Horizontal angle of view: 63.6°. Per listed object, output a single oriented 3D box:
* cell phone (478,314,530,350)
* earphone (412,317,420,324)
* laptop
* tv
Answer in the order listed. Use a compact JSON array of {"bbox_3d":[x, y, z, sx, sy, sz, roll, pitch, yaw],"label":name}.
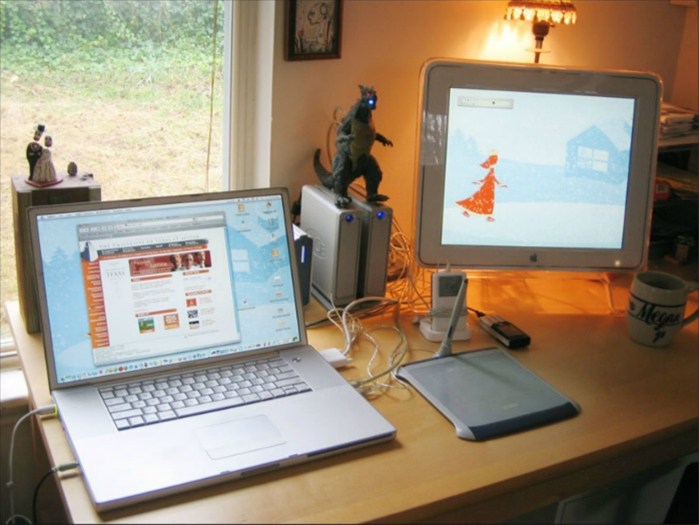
[{"bbox_3d":[0.345,0.148,1.291,0.104,0.059,0.142,-4,22,-15],"label":"cell phone"},{"bbox_3d":[0.159,0.141,1.331,0.008,0.015,0.023,-3,4,-35],"label":"earphone"},{"bbox_3d":[-0.272,0.117,0.971,0.575,0.333,0.511,-10,36,-32],"label":"laptop"},{"bbox_3d":[0.428,-0.173,1.275,0.692,0.536,0.072,2,9,-8],"label":"tv"}]
